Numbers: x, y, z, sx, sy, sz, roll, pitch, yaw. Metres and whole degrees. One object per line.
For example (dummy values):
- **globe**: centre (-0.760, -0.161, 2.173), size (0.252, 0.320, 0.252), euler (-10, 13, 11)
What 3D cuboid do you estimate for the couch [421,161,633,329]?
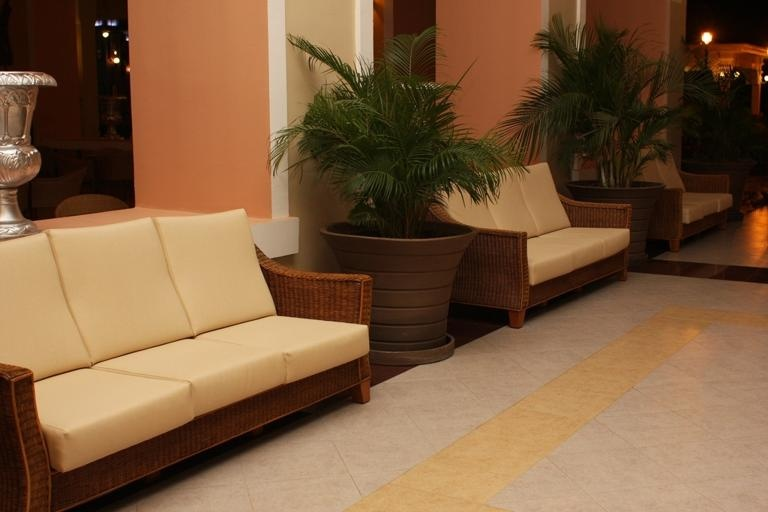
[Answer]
- **couch**: centre (1.595, -0.196, 5.909), size (1.138, 1.259, 2.355), euler (8, 16, 41)

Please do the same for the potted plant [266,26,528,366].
- **potted plant**: centre (0.133, -0.445, 4.427), size (1.628, 2.437, 1.690), euler (4, 14, 32)

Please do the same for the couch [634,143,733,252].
- **couch**: centre (4.533, -0.879, 8.893), size (2.330, 1.171, 1.112), euler (-13, 16, -43)
